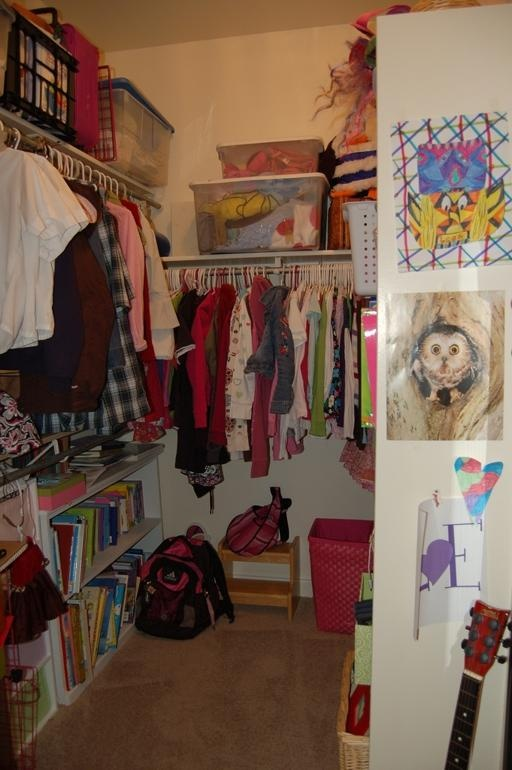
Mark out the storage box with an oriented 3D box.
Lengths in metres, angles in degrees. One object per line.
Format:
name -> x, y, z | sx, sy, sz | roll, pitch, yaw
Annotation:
storage box -> -0.127, -0.925, 2.626 | 0.890, 0.719, 0.561 | 0, 10, 12

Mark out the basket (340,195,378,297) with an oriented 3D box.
basket -> 0.246, -0.321, 1.383 | 0.076, 0.214, 0.199 | 0, 5, 9

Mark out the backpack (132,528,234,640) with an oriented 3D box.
backpack -> -0.314, 0.889, 2.622 | 0.301, 0.491, 0.441 | 1, -9, 18

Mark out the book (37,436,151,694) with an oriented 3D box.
book -> -0.610, 0.694, 2.162 | 0.238, 0.696, 0.793 | 0, 11, 4

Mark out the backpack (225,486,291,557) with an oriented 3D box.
backpack -> 0.033, 0.622, 2.728 | 0.285, 0.293, 0.224 | -23, -12, 17

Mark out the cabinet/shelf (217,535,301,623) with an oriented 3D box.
cabinet/shelf -> 0.021, 0.893, 2.747 | 0.391, 0.416, 0.308 | -1, 1, 12

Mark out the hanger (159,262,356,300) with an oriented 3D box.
hanger -> 0.018, -0.472, 2.611 | 0.836, 0.158, 0.382 | 1, 6, 15

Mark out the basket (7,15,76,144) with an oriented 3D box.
basket -> -0.703, -0.990, 1.890 | 0.105, 0.281, 0.401 | 0, 5, 8
